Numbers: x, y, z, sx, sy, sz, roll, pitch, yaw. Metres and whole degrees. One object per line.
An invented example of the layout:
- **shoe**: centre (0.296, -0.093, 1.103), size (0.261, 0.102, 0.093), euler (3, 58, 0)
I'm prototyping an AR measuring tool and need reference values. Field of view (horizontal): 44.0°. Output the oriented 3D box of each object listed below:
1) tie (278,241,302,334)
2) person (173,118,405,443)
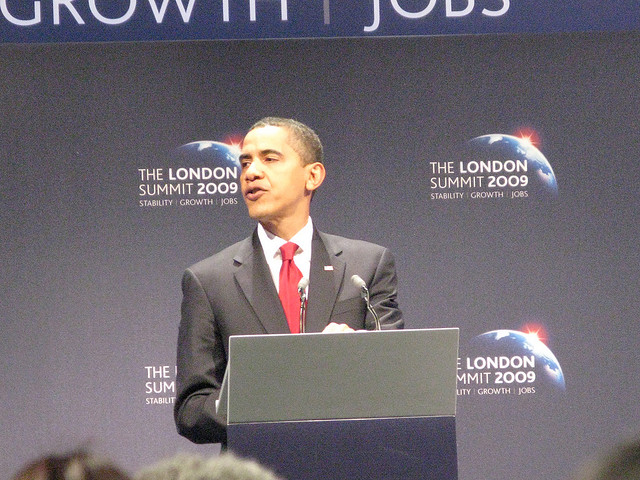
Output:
- **tie**: centre (-0.158, 0.266, 4.380), size (0.132, 0.087, 0.666), euler (10, 39, -13)
- **person**: centre (-0.233, 0.161, 4.472), size (1.322, 1.598, 0.826), euler (-6, 14, -27)
